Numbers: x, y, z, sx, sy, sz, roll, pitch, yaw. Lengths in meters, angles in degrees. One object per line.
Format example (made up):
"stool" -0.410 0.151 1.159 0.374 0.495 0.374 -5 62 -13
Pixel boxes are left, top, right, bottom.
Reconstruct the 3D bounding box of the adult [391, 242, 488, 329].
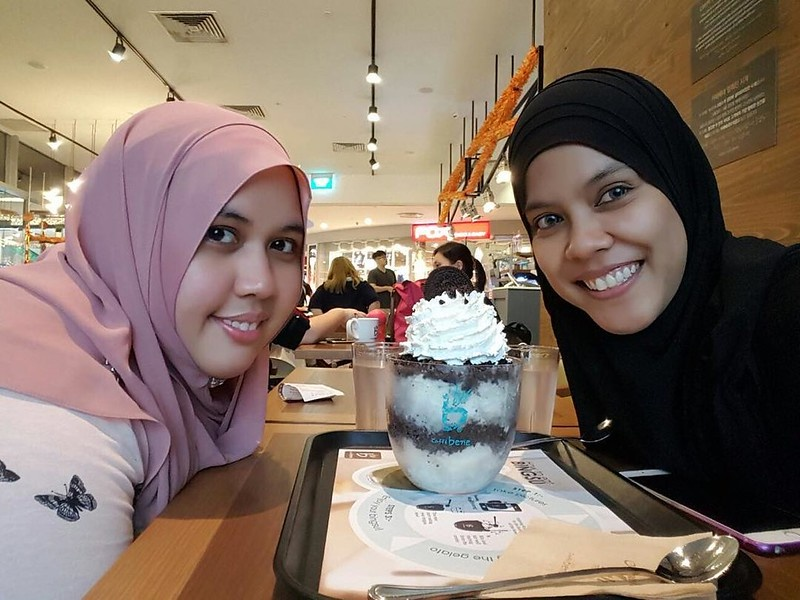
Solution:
"adult" 0.451 -0.070 4.053 0.435 0.822 0.268 13 -23 -21

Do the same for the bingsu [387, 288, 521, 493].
"bingsu" 0.095 0.158 0.953 0.238 0.341 0.228 2 3 18

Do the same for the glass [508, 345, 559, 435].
"glass" 0.328 0.224 1.269 0.131 0.202 0.128 -3 -9 42

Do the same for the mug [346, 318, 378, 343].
"mug" -0.160 0.123 2.116 0.130 0.097 0.077 -2 6 -38

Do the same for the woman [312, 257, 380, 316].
"woman" -0.563 -0.076 5.153 0.677 0.714 0.367 -2 28 -8

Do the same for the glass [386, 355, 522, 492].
"glass" 0.095 0.211 0.967 0.231 0.236 0.254 3 7 17

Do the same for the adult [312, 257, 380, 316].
"adult" -0.575 -0.067 5.158 0.666 0.692 0.363 -4 31 -10

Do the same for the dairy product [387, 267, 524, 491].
"dairy product" 0.102 0.147 0.957 0.241 0.370 0.234 0 4 -28
